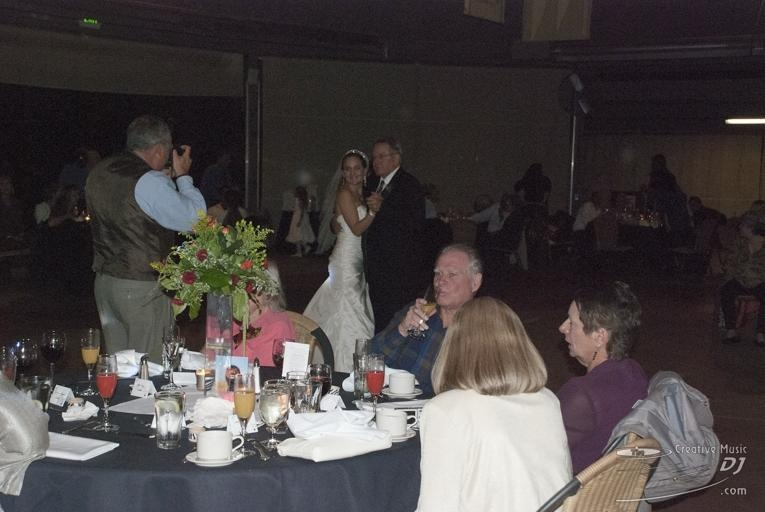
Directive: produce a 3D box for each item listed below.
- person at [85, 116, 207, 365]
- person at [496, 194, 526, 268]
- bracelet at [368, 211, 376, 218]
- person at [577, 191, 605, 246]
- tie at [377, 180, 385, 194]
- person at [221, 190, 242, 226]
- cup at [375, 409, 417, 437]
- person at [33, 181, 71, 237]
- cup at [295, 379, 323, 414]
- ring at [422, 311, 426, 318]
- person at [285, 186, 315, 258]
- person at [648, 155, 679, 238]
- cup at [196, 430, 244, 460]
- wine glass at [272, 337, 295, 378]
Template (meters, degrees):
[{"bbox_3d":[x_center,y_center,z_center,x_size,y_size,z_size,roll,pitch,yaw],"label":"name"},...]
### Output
[{"bbox_3d":[-1.502,-0.112,4.135,0.697,1.533,0.377,-2,11,-20],"label":"person"},{"bbox_3d":[2.018,-0.342,9.991,0.432,1.161,0.963,3,10,12],"label":"person"},{"bbox_3d":[-0.077,-0.325,5.026,0.046,0.035,0.059,2,10,0],"label":"bracelet"},{"bbox_3d":[3.426,-0.624,10.788,0.371,0.902,0.678,-3,11,-25],"label":"person"},{"bbox_3d":[-0.007,-0.538,5.014,0.050,0.082,0.026,15,9,34],"label":"tie"},{"bbox_3d":[-1.843,-0.612,7.901,0.216,0.382,0.825,-1,9,-13],"label":"person"},{"bbox_3d":[0.062,0.675,2.653,0.142,0.068,0.099,8,-3,-14],"label":"cup"},{"bbox_3d":[-4.411,-0.611,8.690,0.820,0.284,0.267,-33,-32,33],"label":"person"},{"bbox_3d":[-0.310,0.589,2.724,0.124,0.138,0.128,2,0,0],"label":"cup"},{"bbox_3d":[0.211,0.296,3.293,0.018,0.017,0.018,1,-13,0],"label":"ring"},{"bbox_3d":[-1.592,-0.729,12.660,0.732,1.510,0.587,-6,33,-23],"label":"person"},{"bbox_3d":[4.718,-1.013,10.848,0.493,1.319,1.510,5,10,22],"label":"person"},{"bbox_3d":[-0.603,0.689,2.365,0.119,0.062,0.088,7,-11,-31],"label":"cup"},{"bbox_3d":[-0.420,0.471,3.036,0.144,0.161,0.146,1,-7,-1],"label":"wine glass"}]
